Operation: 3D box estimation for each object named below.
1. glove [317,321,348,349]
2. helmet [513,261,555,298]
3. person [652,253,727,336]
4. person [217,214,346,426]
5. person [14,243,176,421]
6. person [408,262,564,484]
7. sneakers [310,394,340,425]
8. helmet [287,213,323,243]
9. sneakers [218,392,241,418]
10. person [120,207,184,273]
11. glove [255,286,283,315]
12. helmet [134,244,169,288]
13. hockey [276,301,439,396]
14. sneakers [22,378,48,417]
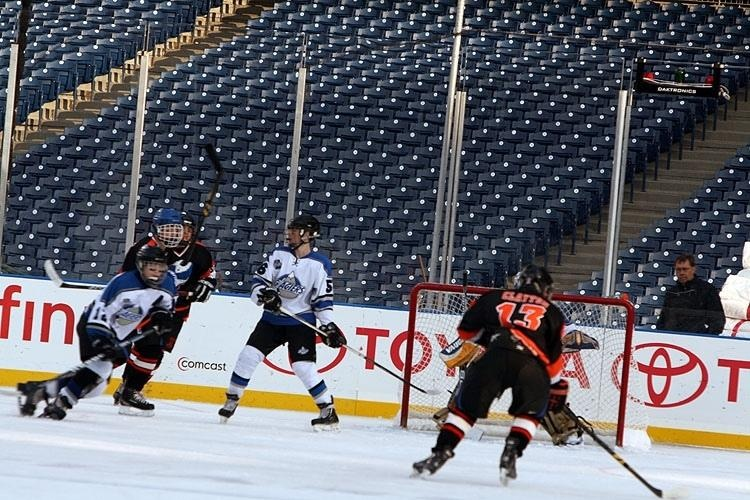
[{"bbox_3d":[-0.498,0.994,17.710,0.309,0.280,0.225,7,-7,-13],"label":"glove"},{"bbox_3d":[1.710,0.323,16.459,0.360,0.361,0.391,6,8,6],"label":"helmet"},{"bbox_3d":[3.949,0.620,19.566,1.067,1.218,0.812,-5,-14,30],"label":"person"},{"bbox_3d":[-0.956,0.826,17.699,1.336,2.458,0.400,7,-7,-5],"label":"person"},{"bbox_3d":[-3.017,0.954,17.128,1.417,1.973,0.438,5,-7,6],"label":"person"},{"bbox_3d":[1.332,1.304,16.245,1.221,2.319,0.646,5,-7,7],"label":"person"},{"bbox_3d":[-0.561,1.897,17.697,0.301,0.354,0.222,6,-7,-3],"label":"sneakers"},{"bbox_3d":[-0.823,-0.232,17.877,0.406,0.300,0.269,12,-3,-3],"label":"helmet"},{"bbox_3d":[-1.685,1.792,17.699,0.168,0.160,0.427,7,28,9],"label":"sneakers"},{"bbox_3d":[-2.576,-0.167,17.712,0.583,0.793,0.394,18,-3,34],"label":"person"},{"bbox_3d":[-1.195,0.585,17.590,0.299,0.269,0.175,6,-7,-9],"label":"glove"},{"bbox_3d":[-2.456,0.194,17.018,0.408,0.419,0.465,2,14,-23],"label":"helmet"},{"bbox_3d":[-0.208,1.266,18.643,2.729,0.099,0.351,21,39,-5],"label":"hockey"},{"bbox_3d":[-3.737,1.655,16.967,0.284,0.359,0.098,5,-7,-3],"label":"sneakers"}]
